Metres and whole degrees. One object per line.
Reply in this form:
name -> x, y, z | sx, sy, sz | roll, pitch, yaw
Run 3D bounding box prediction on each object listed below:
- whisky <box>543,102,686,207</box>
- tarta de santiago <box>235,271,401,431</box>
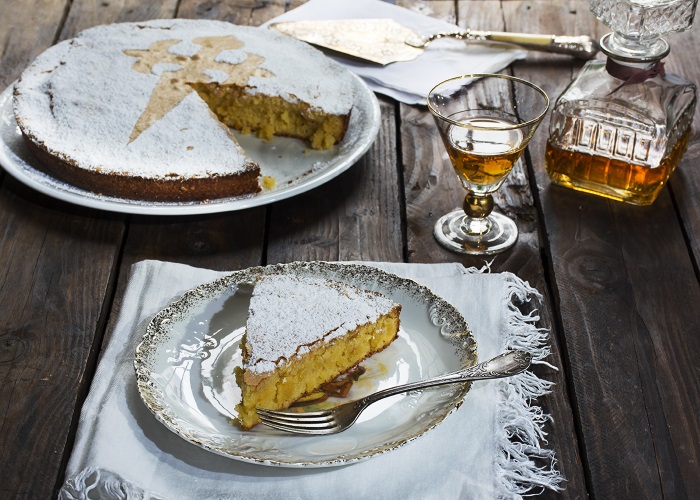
whisky -> 0.661, -0.243, 1.629 | 0.255, 0.282, 0.245 | 23, 33, 37
tarta de santiago -> -0.081, 0.133, 1.159 | 0.231, 0.084, 0.249 | 24, 47, 23
